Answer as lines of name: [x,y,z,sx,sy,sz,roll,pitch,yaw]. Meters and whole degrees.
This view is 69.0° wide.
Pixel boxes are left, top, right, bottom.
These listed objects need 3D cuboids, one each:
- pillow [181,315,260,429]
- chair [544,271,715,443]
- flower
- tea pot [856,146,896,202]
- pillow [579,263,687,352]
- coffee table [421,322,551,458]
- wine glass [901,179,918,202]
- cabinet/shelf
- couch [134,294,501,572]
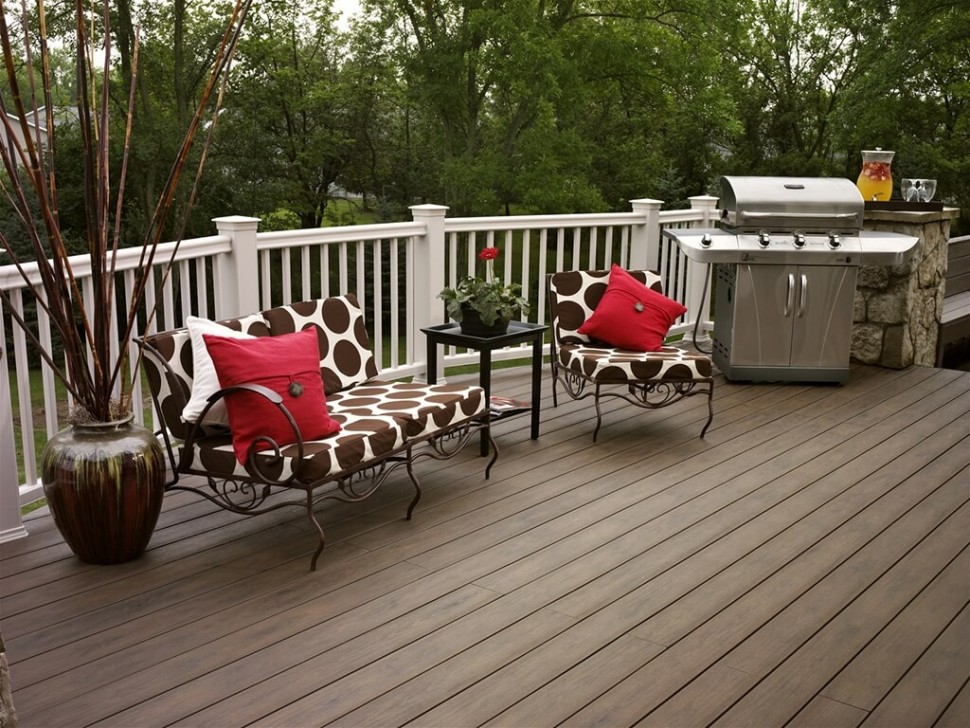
pillow: [-1.036,0.049,2.723,0.173,0.408,0.441,-2,4,24]
chair: [0.819,-0.142,4.403,0.936,0.989,1.208,-4,13,-23]
flower: [0.042,-0.422,3.864,0.551,0.377,0.568,8,25,5]
tea pot: [2.994,-1.432,5.394,0.225,0.373,0.207,-2,10,0]
pillow: [0.840,-0.286,4.333,0.581,0.563,0.181,35,-18,7]
coffee table: [0.041,0.034,4.145,0.760,0.906,0.761,13,21,39]
wine glass: [3.287,-1.330,5.441,0.097,0.167,0.170,2,10,22]
cabinet/shelf: [2.082,-0.335,5.337,1.152,1.016,0.815,0,12,5]
couch: [-0.763,-0.071,3.026,1.203,0.938,1.636,10,15,28]
